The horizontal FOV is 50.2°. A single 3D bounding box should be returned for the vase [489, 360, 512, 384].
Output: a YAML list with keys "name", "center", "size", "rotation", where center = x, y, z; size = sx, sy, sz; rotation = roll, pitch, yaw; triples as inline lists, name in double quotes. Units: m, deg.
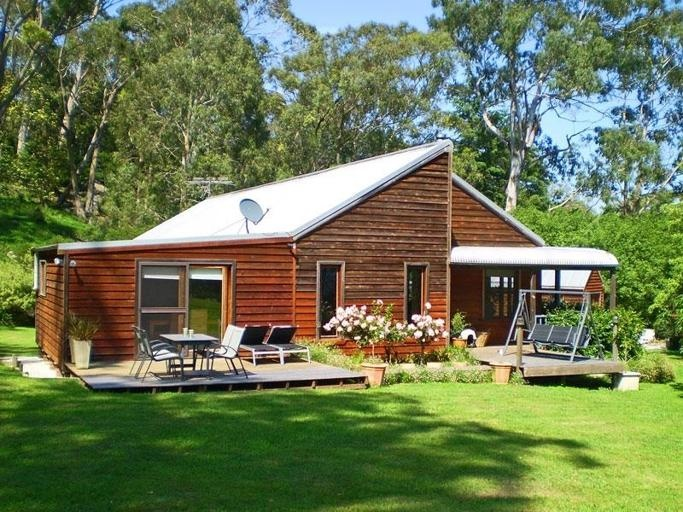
- name: "vase"
  center: [4.818, 3.522, 21.869]
  size: [0.622, 0.596, 0.529]
  rotation: [2, 8, 10]

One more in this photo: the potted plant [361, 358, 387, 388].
- name: "potted plant"
  center: [0.924, 3.386, 20.859]
  size: [0.602, 0.513, 0.639]
  rotation: [0, -8, -2]

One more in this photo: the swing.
- name: "swing"
  center: [7.213, 2.893, 23.681]
  size: [1.636, 2.070, 2.691]
  rotation: [10, -10, -42]
